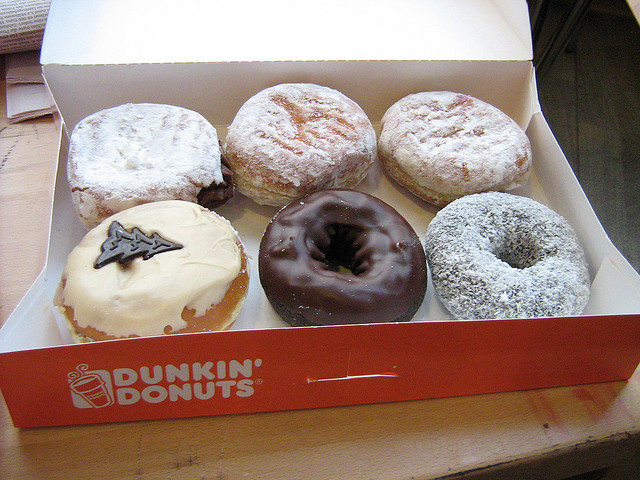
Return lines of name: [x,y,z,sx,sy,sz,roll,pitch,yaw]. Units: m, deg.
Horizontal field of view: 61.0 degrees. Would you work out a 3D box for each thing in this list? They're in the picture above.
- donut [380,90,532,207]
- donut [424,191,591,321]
donut: [0.438,-0.332,1.853,0.489,0.151,0.493,-16,46,-9]
donut: [0.542,0.046,1.600,0.544,0.180,0.451,17,63,-19]
